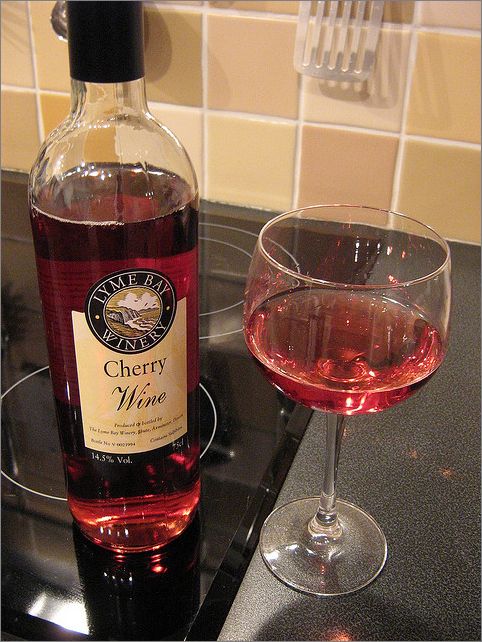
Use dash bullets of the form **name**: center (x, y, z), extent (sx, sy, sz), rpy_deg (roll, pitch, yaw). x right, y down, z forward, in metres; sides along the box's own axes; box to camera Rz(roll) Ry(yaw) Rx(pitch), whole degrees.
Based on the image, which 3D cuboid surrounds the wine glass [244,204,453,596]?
- **wine glass**: center (0.064, 0.032, 0.374), extent (0.119, 0.199, 0.198), rpy_deg (14, 27, 20)
